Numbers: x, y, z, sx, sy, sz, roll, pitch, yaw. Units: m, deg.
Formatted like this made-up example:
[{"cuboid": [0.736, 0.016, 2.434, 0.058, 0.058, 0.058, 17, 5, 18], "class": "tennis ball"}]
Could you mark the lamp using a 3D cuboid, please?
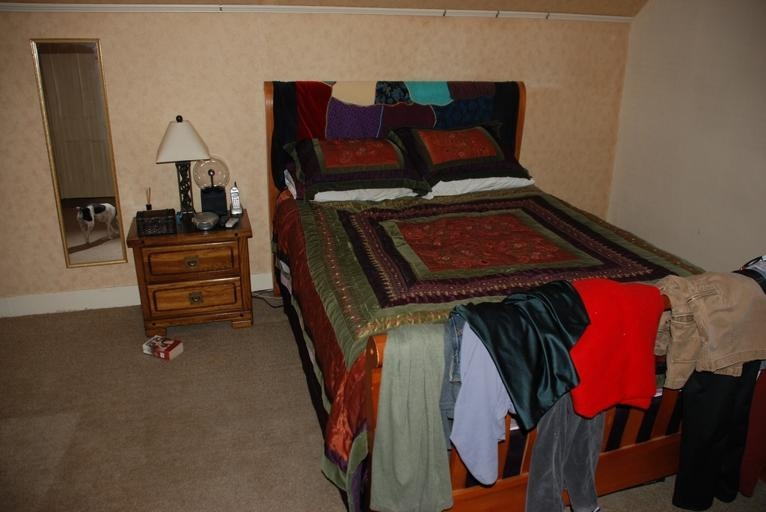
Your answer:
[{"cuboid": [-1.317, -0.602, 3.952, 0.320, 0.638, 0.360, -7, 14, -16], "class": "lamp"}]

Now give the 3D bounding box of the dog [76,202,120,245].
[{"cuboid": [-1.954, -0.251, 4.107, 0.104, 0.247, 0.340, 10, 15, 20], "class": "dog"}]

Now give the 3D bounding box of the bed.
[{"cuboid": [0.501, -0.040, 3.536, 2.102, 2.078, 2.170, -6, 14, -15], "class": "bed"}]

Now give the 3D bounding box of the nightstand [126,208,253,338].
[{"cuboid": [-1.160, 0.073, 4.135, 0.942, 0.936, 0.708, -6, 26, -13], "class": "nightstand"}]

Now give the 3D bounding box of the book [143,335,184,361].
[{"cuboid": [-1.403, 0.572, 3.780, 0.192, 0.064, 0.142, 9, 17, 20], "class": "book"}]
